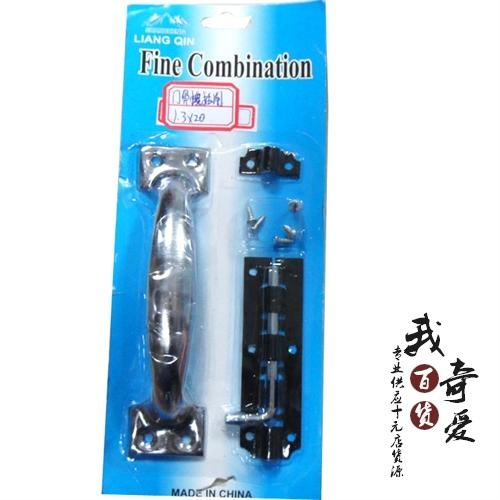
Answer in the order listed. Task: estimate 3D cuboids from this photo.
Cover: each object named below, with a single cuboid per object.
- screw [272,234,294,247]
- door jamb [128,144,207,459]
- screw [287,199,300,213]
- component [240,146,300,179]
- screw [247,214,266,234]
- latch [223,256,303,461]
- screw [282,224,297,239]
[{"bbox_3d":[0.134,-0.043,2.088,0.060,0.040,0.032,-2,-7,0],"label":"screw"},{"bbox_3d":[-0.299,0.170,2.028,0.302,1.181,0.179,0,-9,-11],"label":"door jamb"},{"bbox_3d":[0.175,-0.175,2.116,0.044,0.053,0.014,2,-3,6],"label":"screw"},{"bbox_3d":[0.079,-0.345,2.124,0.241,0.124,0.050,-2,-9,1],"label":"component"},{"bbox_3d":[0.020,-0.103,2.110,0.049,0.074,0.019,11,-5,18],"label":"screw"},{"bbox_3d":[0.086,0.400,2.032,0.258,0.759,0.072,-1,-9,-2],"label":"latch"},{"bbox_3d":[0.160,-0.076,2.089,0.039,0.056,0.017,-39,6,8],"label":"screw"}]
